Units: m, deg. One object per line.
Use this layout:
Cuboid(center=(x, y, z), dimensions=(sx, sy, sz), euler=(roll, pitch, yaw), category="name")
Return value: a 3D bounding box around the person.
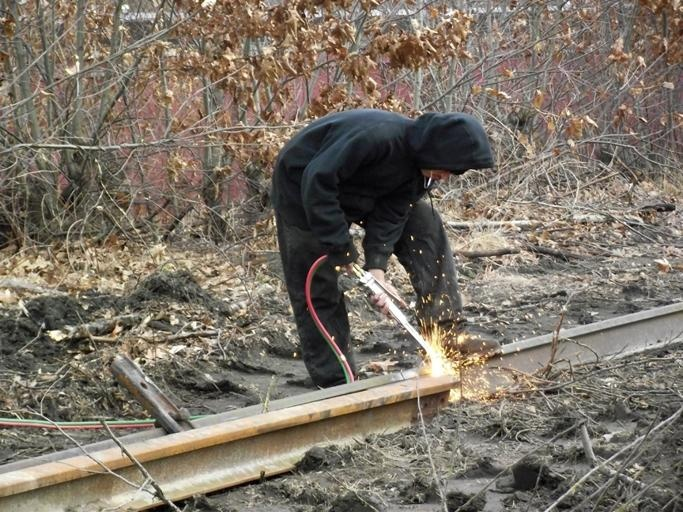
Cuboid(center=(0.281, -0.017, 5.324), dimensions=(1.476, 2.093, 0.781), euler=(-6, 10, -5), category="person")
